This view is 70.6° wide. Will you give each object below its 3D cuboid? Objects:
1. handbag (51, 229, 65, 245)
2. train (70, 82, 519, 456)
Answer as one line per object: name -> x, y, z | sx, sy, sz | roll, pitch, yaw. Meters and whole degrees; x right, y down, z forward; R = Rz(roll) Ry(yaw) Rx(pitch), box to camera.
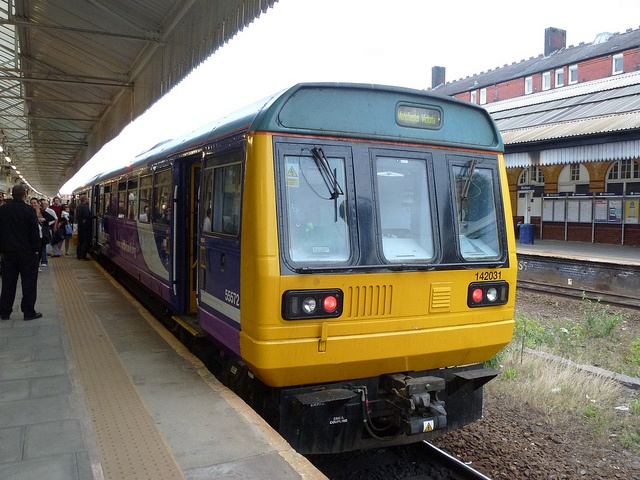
handbag -> -9.832, -0.177, 17.006 | 0.480, 0.523, 0.323 | 43, 23, 25
train -> -0.530, 0.133, 5.780 | 5.199, 3.900, 2.527 | 8, 9, 37
